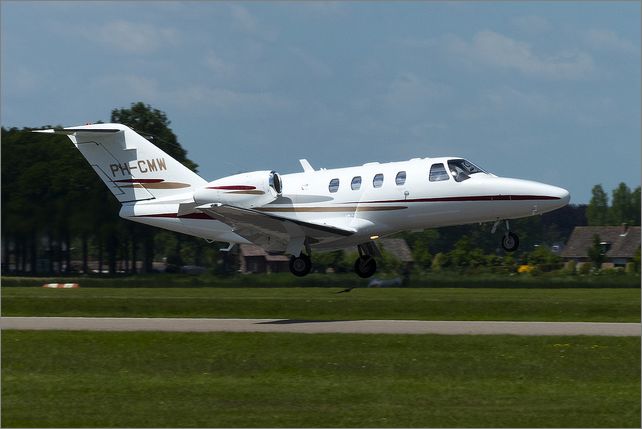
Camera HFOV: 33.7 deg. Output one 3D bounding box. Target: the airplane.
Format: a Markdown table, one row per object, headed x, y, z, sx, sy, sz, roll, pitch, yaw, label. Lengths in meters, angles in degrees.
| x | y | z | sx | sy | sz | roll | pitch | yaw | label |
| --- | --- | --- | --- | --- | --- | --- | --- | --- | --- |
| -0.181 | -1.240 | 43.142 | 20.253 | 3.295 | 13.973 | 2 | 18 | 5 | airplane |
